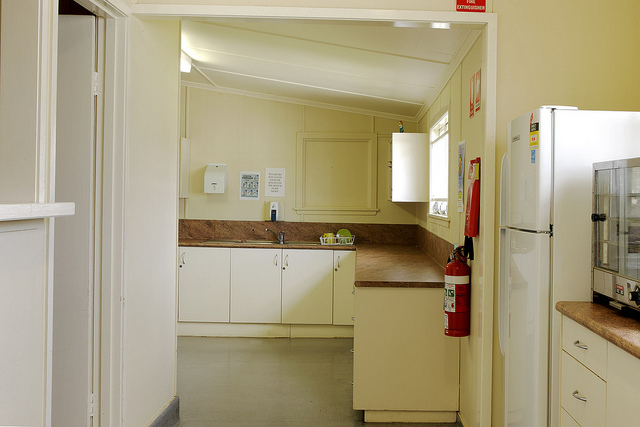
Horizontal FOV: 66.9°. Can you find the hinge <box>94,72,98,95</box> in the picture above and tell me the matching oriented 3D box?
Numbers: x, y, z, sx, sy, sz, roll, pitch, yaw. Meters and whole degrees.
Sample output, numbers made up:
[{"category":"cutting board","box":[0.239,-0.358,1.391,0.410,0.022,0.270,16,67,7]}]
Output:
[{"category":"hinge","box":[-1.448,-0.833,3.106,0.007,0.140,0.029,2,5,26]}]

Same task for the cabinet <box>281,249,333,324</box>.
[{"category":"cabinet","box":[-0.133,0.851,5.764,0.720,1.138,0.728,0,-5,0]}]

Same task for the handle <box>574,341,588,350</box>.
[{"category":"handle","box":[1.416,0.704,2.625,0.035,0.014,0.061,-11,12,-30]}]

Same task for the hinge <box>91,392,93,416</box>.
[{"category":"hinge","box":[-1.484,1.218,3.129,0.009,0.143,0.017,-1,5,-9]}]

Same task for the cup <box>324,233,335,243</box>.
[{"category":"cup","box":[0.105,0.287,5.925,0.122,0.094,0.215,0,6,1]}]

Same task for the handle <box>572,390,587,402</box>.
[{"category":"handle","box":[1.406,0.975,2.619,0.066,0.017,0.069,24,-10,23]}]

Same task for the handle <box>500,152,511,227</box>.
[{"category":"handle","box":[1.200,-0.174,3.140,0.042,0.458,0.094,5,-12,2]}]
